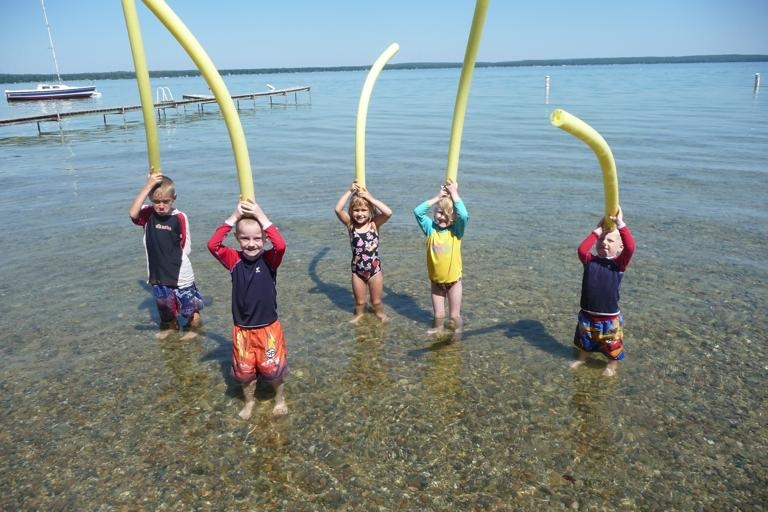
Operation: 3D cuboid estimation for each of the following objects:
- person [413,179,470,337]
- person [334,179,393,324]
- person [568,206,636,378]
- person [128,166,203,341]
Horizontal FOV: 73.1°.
[{"bbox_3d":[0.924,0.023,8.364,0.769,2.545,0.626,2,23,6],"label":"person"},{"bbox_3d":[-0.327,-0.090,8.797,0.862,2.395,0.690,-1,23,-1],"label":"person"},{"bbox_3d":[3.185,0.505,7.500,0.821,2.442,0.579,8,25,19],"label":"person"},{"bbox_3d":[-3.449,-0.004,8.213,0.728,2.732,0.615,5,24,14],"label":"person"}]
